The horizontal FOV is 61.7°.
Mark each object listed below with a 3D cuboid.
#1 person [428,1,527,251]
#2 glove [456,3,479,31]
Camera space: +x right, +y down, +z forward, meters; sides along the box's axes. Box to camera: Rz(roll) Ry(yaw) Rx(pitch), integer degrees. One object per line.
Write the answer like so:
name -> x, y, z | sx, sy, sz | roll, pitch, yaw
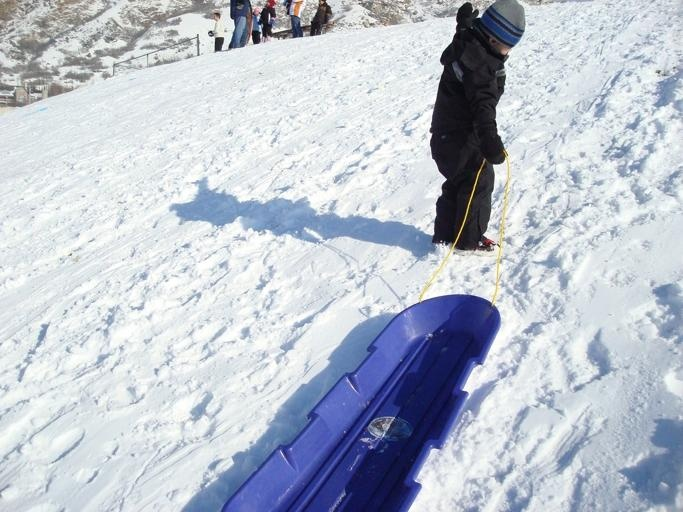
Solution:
person -> 0.951, -0.882, 4.294 | 0.576, 1.809, 0.934 | 4, 40, 8
glove -> 0.929, -1.755, 4.218 | 0.175, 0.105, 0.241 | 12, 78, 18
